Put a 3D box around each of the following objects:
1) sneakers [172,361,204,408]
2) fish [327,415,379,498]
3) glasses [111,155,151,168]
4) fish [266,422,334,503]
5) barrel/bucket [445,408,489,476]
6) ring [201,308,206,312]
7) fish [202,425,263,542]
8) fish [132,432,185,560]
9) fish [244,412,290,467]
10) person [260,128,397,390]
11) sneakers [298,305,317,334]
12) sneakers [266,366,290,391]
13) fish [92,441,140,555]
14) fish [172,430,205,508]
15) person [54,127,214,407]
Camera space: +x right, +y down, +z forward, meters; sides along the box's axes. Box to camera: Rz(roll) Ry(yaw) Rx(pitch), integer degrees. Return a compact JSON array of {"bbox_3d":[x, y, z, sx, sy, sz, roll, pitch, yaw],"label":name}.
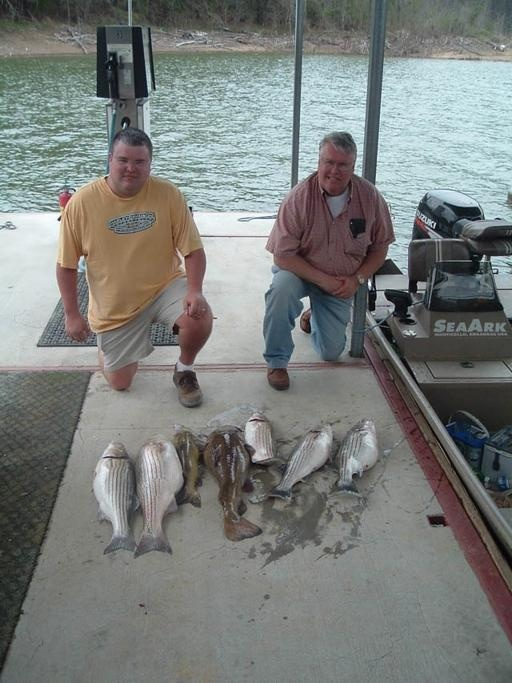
[{"bbox_3d":[-0.336,0.224,2.843,0.099,0.100,0.246,-5,22,-18],"label":"sneakers"},{"bbox_3d":[0.424,0.465,2.364,0.111,0.133,0.335,7,35,26],"label":"fish"},{"bbox_3d":[-0.552,-0.798,2.545,0.174,0.051,0.131,-4,24,-12],"label":"glasses"},{"bbox_3d":[0.207,0.470,2.342,0.119,0.152,0.427,22,40,31],"label":"fish"},{"bbox_3d":[1.033,0.474,2.823,0.150,0.273,0.208,-22,35,-35],"label":"barrel/bucket"},{"bbox_3d":[-0.248,-0.153,2.771,0.005,0.018,0.020,14,12,37],"label":"ring"},{"bbox_3d":[-0.101,0.534,2.205,0.147,0.130,0.419,-3,27,-1],"label":"fish"},{"bbox_3d":[-0.372,0.563,2.150,0.166,0.143,0.618,-4,30,-6],"label":"fish"},{"bbox_3d":[0.050,0.419,2.451,0.165,0.094,0.331,-3,40,-5],"label":"fish"},{"bbox_3d":[0.313,-0.450,3.039,0.769,1.236,0.413,-15,30,-32],"label":"person"},{"bbox_3d":[0.324,-0.130,3.598,0.061,0.063,0.156,6,66,30],"label":"sneakers"},{"bbox_3d":[0.119,0.192,2.999,0.118,0.083,0.136,2,24,2],"label":"sneakers"},{"bbox_3d":[-0.508,0.556,2.112,0.123,0.165,0.424,12,28,-19],"label":"fish"},{"bbox_3d":[-0.258,0.499,2.313,0.116,0.096,0.259,-11,28,3],"label":"fish"},{"bbox_3d":[-0.563,-0.263,2.725,0.697,1.089,0.439,-7,26,-17],"label":"person"}]
